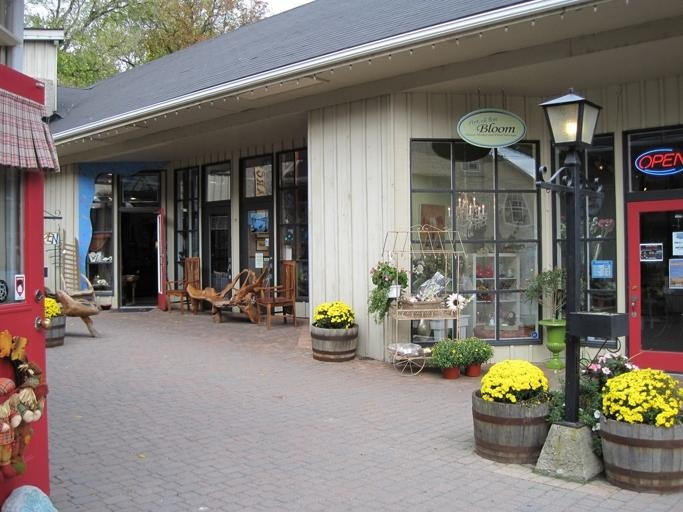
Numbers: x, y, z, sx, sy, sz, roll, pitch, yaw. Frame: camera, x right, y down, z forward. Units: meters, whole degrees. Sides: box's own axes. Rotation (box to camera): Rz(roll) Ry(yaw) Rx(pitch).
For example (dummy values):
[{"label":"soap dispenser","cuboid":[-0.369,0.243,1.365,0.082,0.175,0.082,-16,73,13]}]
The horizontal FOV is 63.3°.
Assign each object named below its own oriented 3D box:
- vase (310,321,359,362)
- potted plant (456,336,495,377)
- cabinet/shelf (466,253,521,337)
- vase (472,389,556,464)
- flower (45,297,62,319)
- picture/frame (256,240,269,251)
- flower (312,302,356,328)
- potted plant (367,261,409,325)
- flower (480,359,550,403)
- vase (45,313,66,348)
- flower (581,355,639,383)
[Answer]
[{"label":"vase","cuboid":[-0.143,1.301,8.522,0.570,0.354,0.568,-2,-5,35]},{"label":"potted plant","cuboid":[1.825,1.403,7.542,0.552,0.559,0.493,4,5,34]},{"label":"cabinet/shelf","cuboid":[2.364,0.615,8.539,0.711,1.293,0.177,-1,3,-10]},{"label":"vase","cuboid":[1.483,1.511,4.894,0.564,0.422,0.572,3,-1,17]},{"label":"flower","cuboid":[-5.031,0.887,9.649,0.236,0.345,0.616,-2,4,-27]},{"label":"picture/frame","cuboid":[-1.913,-0.271,13.333,0.417,0.283,0.223,3,4,43]},{"label":"flower","cuboid":[-0.123,0.860,8.611,0.433,0.323,0.467,3,3,10]},{"label":"potted plant","cuboid":[0.708,0.527,8.438,0.747,0.967,0.820,2,2,23]},{"label":"flower","cuboid":[1.547,1.088,5.000,0.417,0.266,0.388,1,-4,-31]},{"label":"vase","cuboid":[-5.004,1.301,9.636,0.175,0.551,0.447,0,3,0]},{"label":"flower","cuboid":[2.465,1.031,5.147,0.319,0.230,0.323,-2,7,35]}]
